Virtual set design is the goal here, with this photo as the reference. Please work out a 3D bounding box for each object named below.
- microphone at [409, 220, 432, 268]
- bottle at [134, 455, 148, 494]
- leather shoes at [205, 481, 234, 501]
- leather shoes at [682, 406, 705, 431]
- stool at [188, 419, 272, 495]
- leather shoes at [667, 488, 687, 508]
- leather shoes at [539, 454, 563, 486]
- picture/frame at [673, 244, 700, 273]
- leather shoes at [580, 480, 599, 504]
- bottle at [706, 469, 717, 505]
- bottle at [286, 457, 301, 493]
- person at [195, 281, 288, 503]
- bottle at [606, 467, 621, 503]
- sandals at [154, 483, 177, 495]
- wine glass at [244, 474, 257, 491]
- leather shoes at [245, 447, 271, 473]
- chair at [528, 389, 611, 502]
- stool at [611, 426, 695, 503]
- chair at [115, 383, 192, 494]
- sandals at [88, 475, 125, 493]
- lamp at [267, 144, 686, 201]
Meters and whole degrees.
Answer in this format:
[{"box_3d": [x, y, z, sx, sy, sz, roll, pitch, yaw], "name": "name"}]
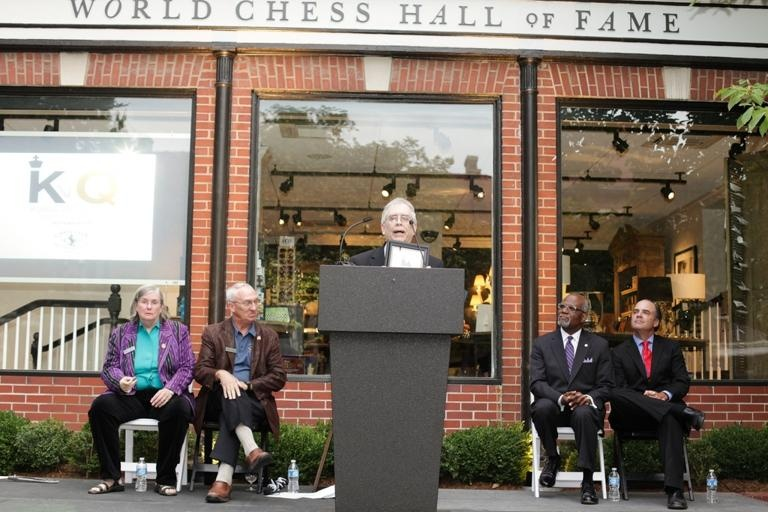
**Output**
[{"box_3d": [0.320, -0.113, 11.006, 0.242, 0.447, 0.162, 0, 1, 15], "name": "microphone"}, {"box_3d": [-2.527, 2.284, 12.288, 0.117, 0.349, 0.194, 1, -6, -10], "name": "bottle"}, {"box_3d": [-1.669, 2.385, 11.907, 0.255, 0.212, 0.189, 1, -6, -12], "name": "leather shoes"}, {"box_3d": [3.239, 1.710, 12.455, 0.143, 0.151, 0.326, -3, 0, -2], "name": "leather shoes"}, {"box_3d": [-1.656, 2.206, 12.572, 0.889, 0.832, 0.719, -1, -34, -1], "name": "stool"}, {"box_3d": [2.996, 2.505, 12.120, 0.201, 0.200, 0.193, -2, -6, 13], "name": "leather shoes"}, {"box_3d": [1.743, 2.289, 12.498, 0.209, 0.325, 0.170, -1, -6, 7], "name": "leather shoes"}, {"box_3d": [3.642, 0.040, 14.371, 0.327, 0.280, 0.034, -6, -13, -8], "name": "picture/frame"}, {"box_3d": [2.115, 2.458, 12.237, 0.184, 0.231, 0.197, -1, -6, 9], "name": "leather shoes"}, {"box_3d": [3.435, 2.442, 12.456, 0.099, 0.331, 0.267, -2, -6, 13], "name": "bottle"}, {"box_3d": [-0.956, 2.328, 12.444, 0.127, 0.327, 0.245, 0, -6, -5], "name": "bottle"}, {"box_3d": [-1.496, 1.399, 12.270, 0.928, 2.251, 0.664, 1, -6, -9], "name": "person"}, {"box_3d": [2.424, 2.424, 12.516, 0.127, 0.331, 0.445, -1, -6, 10], "name": "bottle"}, {"box_3d": [-2.253, 2.414, 12.158, 0.270, 0.105, 0.157, -1, -6, 10], "name": "sandals"}, {"box_3d": [-1.416, 2.427, 12.544, 0.141, 0.160, 0.139, -1, -6, 4], "name": "wine glass"}, {"box_3d": [-1.302, 2.083, 12.014, 0.128, 0.153, 0.379, -2, -26, -36], "name": "leather shoes"}, {"box_3d": [1.980, 2.196, 12.810, 0.826, 0.808, 0.975, -1, -6, 9], "name": "chair"}, {"box_3d": [2.880, 2.259, 12.718, 0.853, 0.723, 0.767, -1, -6, 10], "name": "stool"}, {"box_3d": [-2.503, 2.151, 12.721, 0.883, 0.824, 0.912, -11, -11, -26], "name": "chair"}, {"box_3d": [-2.857, 2.394, 12.245, 0.368, 0.145, 0.140, 7, -11, -26], "name": "sandals"}, {"box_3d": [1.179, -1.004, 14.232, 5.039, 0.631, 0.246, 0, -6, -3], "name": "lamp"}]
